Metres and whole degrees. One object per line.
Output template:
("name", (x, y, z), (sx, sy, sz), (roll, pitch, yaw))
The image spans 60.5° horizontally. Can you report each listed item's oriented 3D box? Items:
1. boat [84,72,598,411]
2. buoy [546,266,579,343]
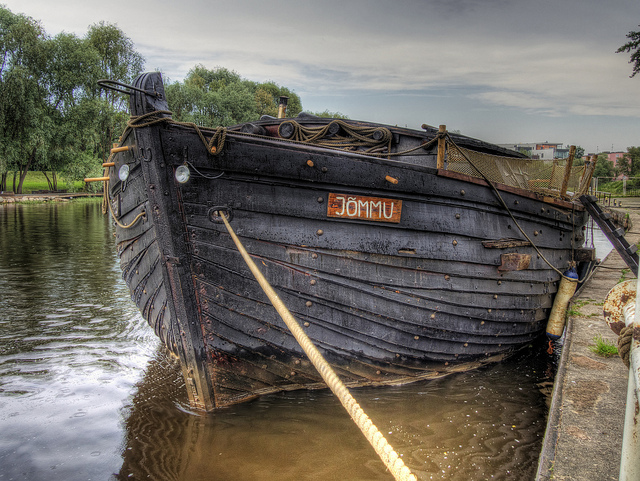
("boat", (0.705, 0.253, 8.130), (4.297, 3.303, 7.391), (-3, -8, 42))
("buoy", (3.393, 0.904, 7.676), (0.246, 1.188, 0.232), (19, 24, 26))
